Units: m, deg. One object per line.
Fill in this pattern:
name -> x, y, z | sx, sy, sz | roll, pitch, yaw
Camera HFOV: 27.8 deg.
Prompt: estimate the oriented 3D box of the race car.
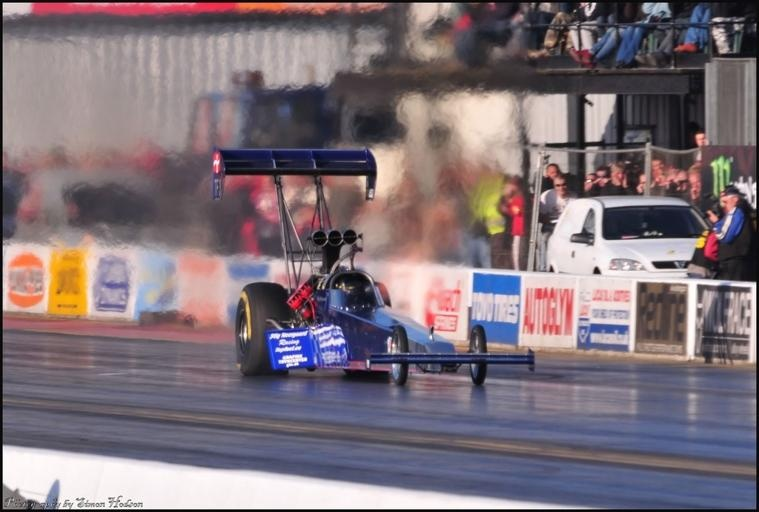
race car -> -0.591, 0.150, 24.809 | 2.993, 3.803, 4.217 | -2, 3, -34
